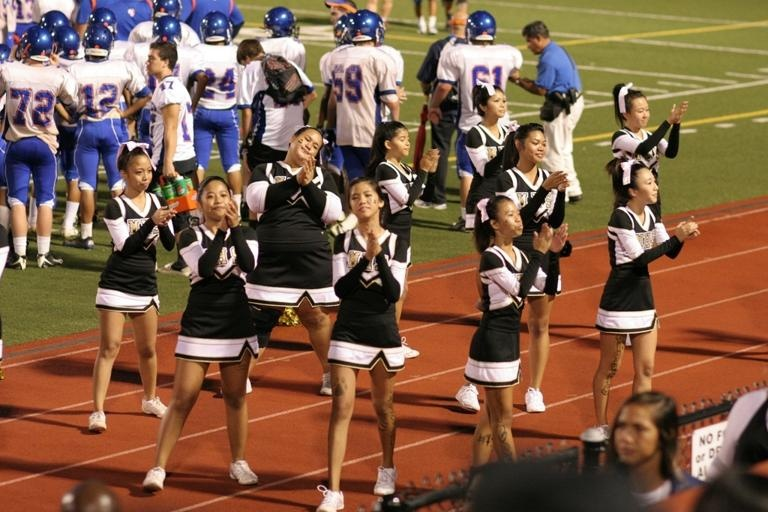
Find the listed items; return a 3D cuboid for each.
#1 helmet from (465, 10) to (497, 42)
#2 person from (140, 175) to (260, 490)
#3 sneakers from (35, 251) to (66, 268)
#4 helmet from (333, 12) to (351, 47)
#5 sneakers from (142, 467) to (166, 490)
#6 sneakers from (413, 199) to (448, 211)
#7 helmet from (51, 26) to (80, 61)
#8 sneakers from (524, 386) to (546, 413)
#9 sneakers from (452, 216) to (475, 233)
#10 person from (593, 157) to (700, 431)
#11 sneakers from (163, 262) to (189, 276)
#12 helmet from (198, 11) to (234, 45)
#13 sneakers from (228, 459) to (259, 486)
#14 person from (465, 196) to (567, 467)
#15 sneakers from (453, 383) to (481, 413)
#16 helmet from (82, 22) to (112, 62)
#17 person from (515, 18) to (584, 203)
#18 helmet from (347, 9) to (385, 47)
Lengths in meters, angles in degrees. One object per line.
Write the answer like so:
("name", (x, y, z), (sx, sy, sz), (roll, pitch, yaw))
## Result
("helmet", (1.441, -3.338, 12.138), (0.399, 0.422, 0.462), (-1, 46, -11))
("person", (-1.322, 0.589, 6.169), (0.769, 2.235, 0.780), (0, 18, -9))
("sneakers", (-4.183, 0.035, 10.611), (0.147, 0.201, 0.442), (22, 22, 33))
("helmet", (-0.527, -2.840, 10.571), (0.361, 0.366, 0.404), (-1, 30, -5))
("sneakers", (-1.666, 1.624, 6.063), (0.111, 0.105, 0.242), (10, -21, -7))
("sneakers", (0.724, -0.833, 13.481), (0.557, 0.213, 0.195), (5, 10, 9))
("helmet", (-4.129, -2.796, 10.961), (0.371, 0.403, 0.434), (-8, 54, -19))
("sneakers", (1.325, 1.296, 7.421), (0.121, 0.108, 0.283), (-1, 0, -4))
("sneakers", (1.154, -0.438, 12.242), (0.384, 0.242, 0.132), (2, -1, 5))
("person", (2.116, 0.342, 7.051), (0.627, 2.185, 1.352), (8, 18, 15))
("sneakers", (-2.614, 0.175, 10.654), (0.443, 0.170, 0.145), (8, 5, 17))
("helmet", (-2.374, -3.248, 11.929), (0.397, 0.439, 0.318), (-2, 18, -15))
("sneakers", (-1.063, 1.617, 6.298), (0.140, 0.112, 0.253), (-15, 18, -38))
("person", (0.873, 0.544, 6.152), (0.520, 1.815, 1.036), (5, 18, 6))
("sneakers", (0.744, 1.281, 7.509), (0.150, 0.144, 0.358), (1, -1, -21))
("helmet", (-3.611, -2.778, 10.865), (0.390, 0.456, 0.474), (3, -20, -16))
("person", (2.745, -2.402, 13.653), (1.191, 2.782, 1.119), (1, 27, 21))
("helmet", (-0.224, -2.806, 10.305), (0.375, 0.351, 0.424), (6, 29, 8))
